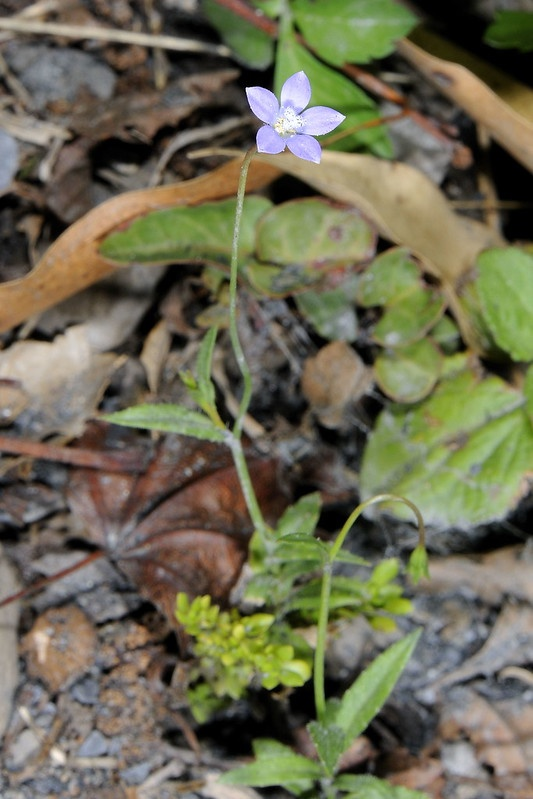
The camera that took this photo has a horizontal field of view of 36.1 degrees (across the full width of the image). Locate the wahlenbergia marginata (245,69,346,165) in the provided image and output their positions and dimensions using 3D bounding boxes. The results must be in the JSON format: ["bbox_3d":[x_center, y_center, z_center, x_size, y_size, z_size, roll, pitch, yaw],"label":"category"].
[{"bbox_3d":[0.044,-0.480,1.415,0.165,0.117,0.212,0,47,-10],"label":"wahlenbergia marginata"}]
